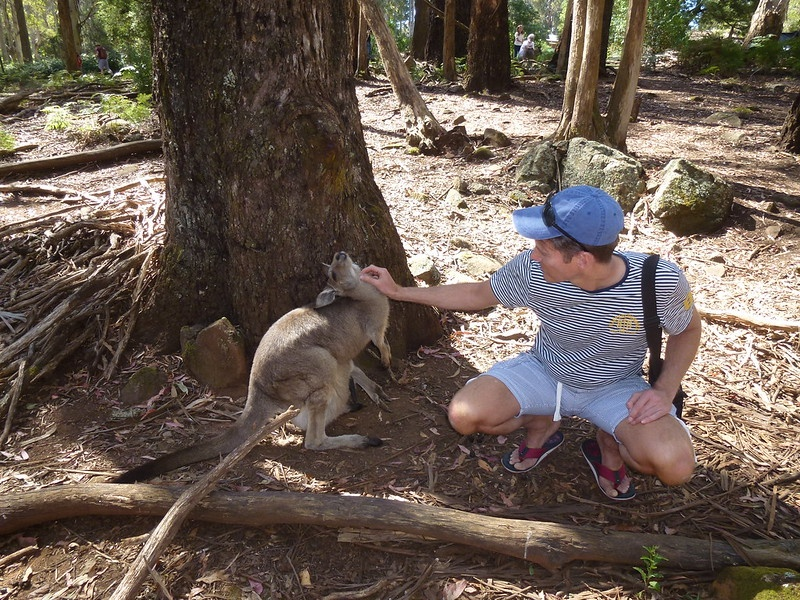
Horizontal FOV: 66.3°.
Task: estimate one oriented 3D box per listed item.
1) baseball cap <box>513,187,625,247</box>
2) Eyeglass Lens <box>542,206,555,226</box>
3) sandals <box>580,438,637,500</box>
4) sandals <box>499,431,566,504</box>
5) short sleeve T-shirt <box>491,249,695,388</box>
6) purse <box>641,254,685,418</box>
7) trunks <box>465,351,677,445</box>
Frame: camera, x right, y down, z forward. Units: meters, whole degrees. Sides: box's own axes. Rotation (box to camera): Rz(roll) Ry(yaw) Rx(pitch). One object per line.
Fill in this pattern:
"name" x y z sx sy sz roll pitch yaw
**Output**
"baseball cap" 1.223 -0.607 4.473 0.748 0.264 0.417 4 58 11
"Eyeglass Lens" 1.094 -0.625 4.526 0.057 0.140 0.112 -9 8 38
"sandals" 1.684 1.386 5.022 0.238 0.152 0.566 -21 52 -8
"sandals" 1.119 1.337 5.193 0.628 0.135 0.228 -26 45 -12
"short sleeve T-shirt" 1.564 0.178 4.899 1.372 0.818 0.546 14 53 30
"purse" 1.939 0.265 4.729 0.310 1.107 0.631 -3 7 5
"trunks" 1.366 0.761 5.043 0.834 0.237 0.816 29 8 20
